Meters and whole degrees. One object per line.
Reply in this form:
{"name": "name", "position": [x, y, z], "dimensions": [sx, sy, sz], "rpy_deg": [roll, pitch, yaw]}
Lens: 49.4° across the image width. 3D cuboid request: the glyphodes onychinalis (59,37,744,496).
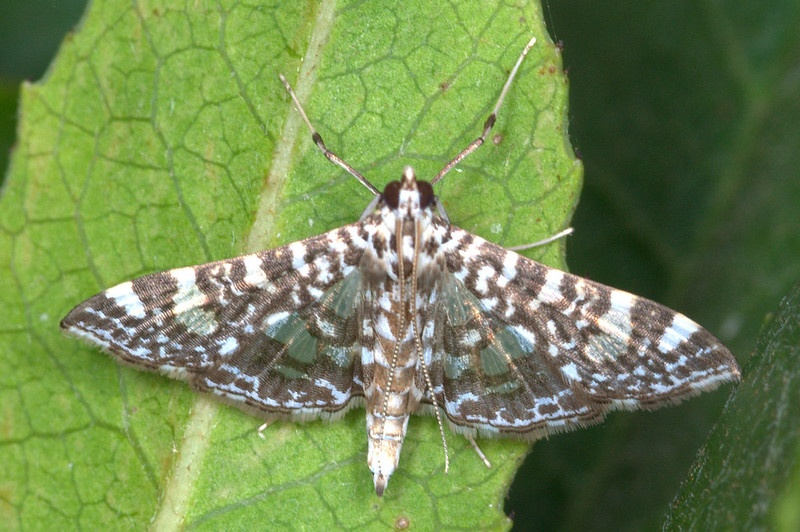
{"name": "glyphodes onychinalis", "position": [0.053, 0.581, 7.599], "dimensions": [5.002, 0.788, 1.949], "rpy_deg": [3, 81, 3]}
